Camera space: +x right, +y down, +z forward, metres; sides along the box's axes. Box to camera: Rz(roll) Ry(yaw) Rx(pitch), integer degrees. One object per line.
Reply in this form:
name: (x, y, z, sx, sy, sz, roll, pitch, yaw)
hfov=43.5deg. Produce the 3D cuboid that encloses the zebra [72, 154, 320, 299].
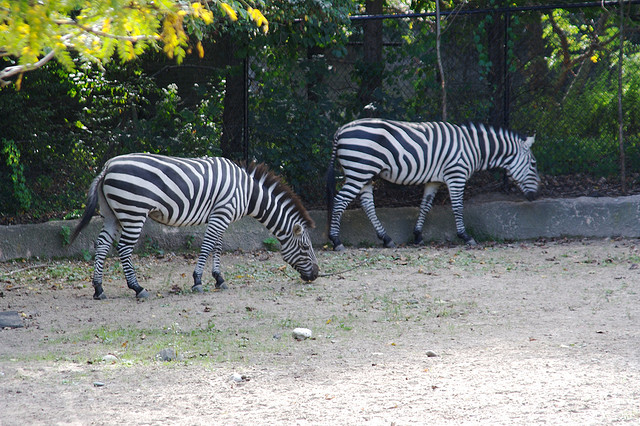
zebra: (-1.521, 0.216, 10.317, 3.006, 1.929, 0.799, 3, 7, -17)

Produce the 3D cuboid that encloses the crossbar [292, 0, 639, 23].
crossbar: (2.735, -3.168, 12.417, 4.481, 0.236, 0.981, 0, 14, 3)

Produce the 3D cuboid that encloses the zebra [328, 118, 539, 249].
zebra: (1.849, -0.502, 12.764, 3.513, 2.231, 1.003, 2, 15, -9)

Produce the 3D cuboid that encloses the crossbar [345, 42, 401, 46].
crossbar: (0.879, -2.795, 13.179, 0.931, 0.058, 0.214, 3, 15, 16)
